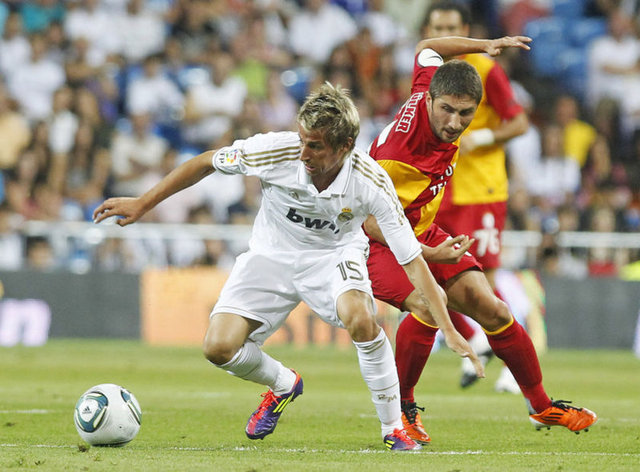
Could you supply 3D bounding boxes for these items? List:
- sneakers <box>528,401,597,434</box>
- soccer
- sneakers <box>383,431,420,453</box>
[{"bbox_3d":[1.927,1.477,7.381,0.598,0.306,0.237,-2,-7,6],"label":"sneakers"},{"bbox_3d":[-1.644,1.341,6.887,0.443,0.451,0.444,-2,1,16],"label":"soccer"},{"bbox_3d":[0.626,1.565,6.922,0.291,0.113,0.166,2,1,10],"label":"sneakers"}]
